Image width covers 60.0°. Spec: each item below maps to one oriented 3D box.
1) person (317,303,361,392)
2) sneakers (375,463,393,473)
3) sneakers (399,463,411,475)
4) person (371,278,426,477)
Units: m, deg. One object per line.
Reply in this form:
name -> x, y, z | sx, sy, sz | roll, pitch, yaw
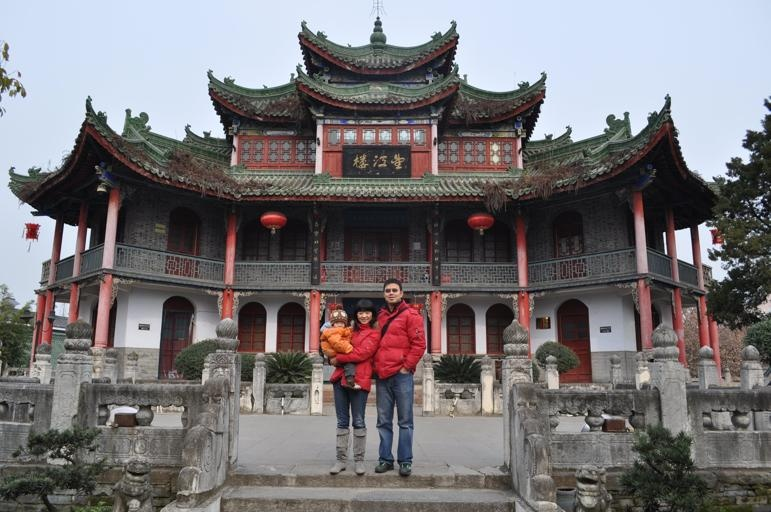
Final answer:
person -> -0.776, 1.637, 11.998 | 0.725, 1.344, 0.699 | -8, -8, 24
sneakers -> 0.014, 3.726, 11.791 | 0.400, 0.200, 0.152 | 10, -18, -31
sneakers -> 0.357, 3.734, 11.690 | 0.248, 0.228, 0.169 | 3, -15, -10
person -> 0.223, 2.132, 11.881 | 0.860, 3.418, 0.803 | 1, -15, -1
